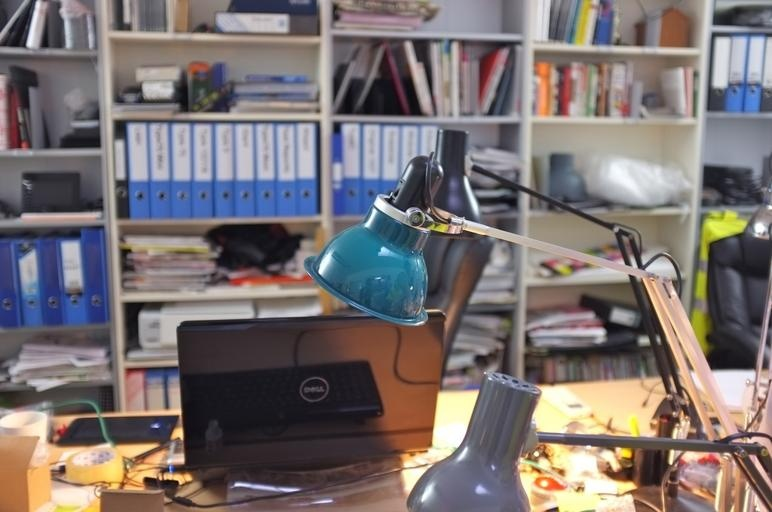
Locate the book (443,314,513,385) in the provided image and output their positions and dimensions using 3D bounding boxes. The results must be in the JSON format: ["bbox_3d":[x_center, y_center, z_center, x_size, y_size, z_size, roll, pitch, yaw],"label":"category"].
[{"bbox_3d":[0.536,0.551,4.337,0.430,0.421,0.149,5,6,-10],"label":"book"}]

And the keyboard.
[{"bbox_3d":[-0.377,0.499,2.653,0.650,0.208,0.087,-4,14,-3],"label":"keyboard"}]

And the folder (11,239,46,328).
[{"bbox_3d":[-1.809,0.183,4.034,0.123,0.530,0.051,-7,-25,-15],"label":"folder"}]

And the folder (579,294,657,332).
[{"bbox_3d":[1.331,0.333,4.564,0.349,0.126,0.349,4,5,-42],"label":"folder"}]

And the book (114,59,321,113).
[{"bbox_3d":[-0.886,-0.892,4.174,1.057,0.266,0.309,-2,12,-6],"label":"book"}]

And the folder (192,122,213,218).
[{"bbox_3d":[-0.943,-0.436,4.067,0.124,0.480,0.041,-3,12,-12],"label":"folder"}]

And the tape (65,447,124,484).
[{"bbox_3d":[-1.030,0.750,2.799,0.135,0.053,0.135,3,-2,16],"label":"tape"}]

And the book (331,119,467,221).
[{"bbox_3d":[0.085,-0.450,4.383,0.784,0.716,0.426,1,10,0],"label":"book"}]

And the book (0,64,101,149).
[{"bbox_3d":[-1.740,-0.836,4.159,0.492,0.487,0.191,-5,16,-31],"label":"book"}]

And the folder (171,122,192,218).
[{"bbox_3d":[-1.049,-0.435,4.058,0.122,0.479,0.046,-4,12,-16],"label":"folder"}]

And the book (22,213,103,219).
[{"bbox_3d":[-1.662,-0.206,4.054,0.246,0.025,0.134,-2,1,-8],"label":"book"}]

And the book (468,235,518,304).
[{"bbox_3d":[0.619,0.066,4.464,0.283,0.378,0.115,7,4,-12],"label":"book"}]

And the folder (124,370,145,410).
[{"bbox_3d":[-1.370,0.725,4.248,0.132,0.217,0.133,1,-6,-34],"label":"folder"}]

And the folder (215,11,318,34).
[{"bbox_3d":[-0.606,-1.191,4.026,0.508,0.111,0.069,-3,12,-12],"label":"folder"}]
